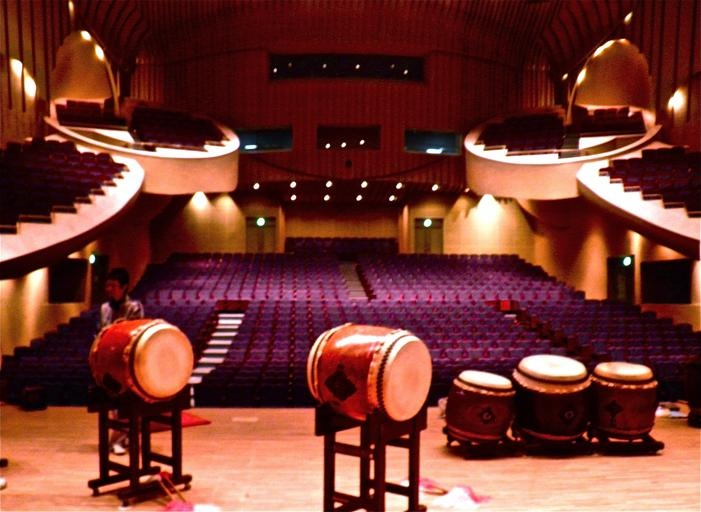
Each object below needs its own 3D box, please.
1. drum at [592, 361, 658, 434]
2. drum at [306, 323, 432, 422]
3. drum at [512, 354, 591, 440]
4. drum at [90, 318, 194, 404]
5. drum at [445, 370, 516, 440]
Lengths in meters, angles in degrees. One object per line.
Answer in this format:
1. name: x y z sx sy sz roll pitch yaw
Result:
1. drum: 2.613 1.327 6.584 0.567 0.596 0.590 -8 2 6
2. drum: 0.198 0.844 5.376 0.787 0.768 0.712 4 -2 28
3. drum: 1.877 1.306 6.570 0.665 0.681 0.692 -5 13 -10
4. drum: -1.670 0.795 5.825 0.630 0.728 0.674 -4 0 43
5. drum: 1.194 1.360 6.537 0.608 0.599 0.608 6 10 -29
